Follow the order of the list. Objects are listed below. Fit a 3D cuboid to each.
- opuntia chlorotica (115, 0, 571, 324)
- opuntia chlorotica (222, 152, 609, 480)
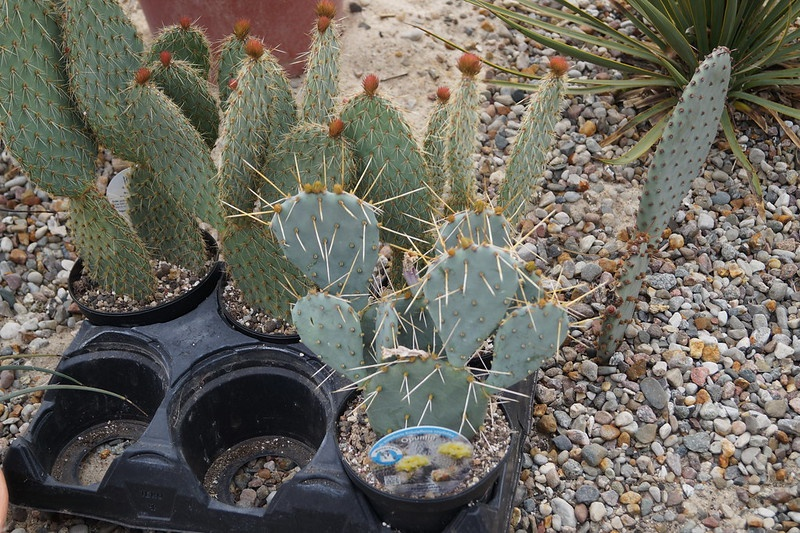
[{"bbox_3d":[-0.271,-0.409,3.266,1.364,2.130,0.710,6,47,3],"label":"opuntia chlorotica"},{"bbox_3d":[-0.064,0.054,2.848,0.967,1.068,0.716,-2,25,-12],"label":"opuntia chlorotica"}]
